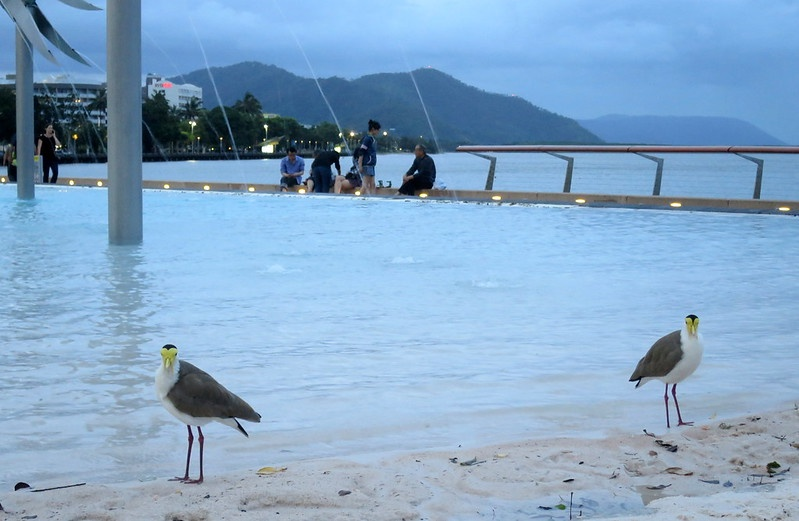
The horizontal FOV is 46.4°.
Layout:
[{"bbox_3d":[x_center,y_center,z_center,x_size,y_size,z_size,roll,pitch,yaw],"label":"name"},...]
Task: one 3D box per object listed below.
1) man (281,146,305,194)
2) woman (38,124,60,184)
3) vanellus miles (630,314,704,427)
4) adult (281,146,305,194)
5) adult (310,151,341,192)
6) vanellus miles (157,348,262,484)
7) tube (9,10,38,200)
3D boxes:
[{"bbox_3d":[-2.867,-2.460,24.372,0.670,1.008,1.098,7,19,12],"label":"man"},{"bbox_3d":[-10.136,-3.026,27.165,0.744,1.937,0.613,1,6,10],"label":"woman"},{"bbox_3d":[2.206,0.862,7.767,0.510,0.891,0.589,0,10,-1],"label":"vanellus miles"},{"bbox_3d":[-2.820,-2.453,24.359,0.604,1.118,1.995,-1,10,-7],"label":"adult"},{"bbox_3d":[-1.850,-2.302,23.542,0.679,1.037,0.933,-2,10,-12],"label":"adult"},{"bbox_3d":[-1.444,1.146,6.970,0.929,0.993,0.426,8,-7,-34],"label":"vanellus miles"},{"bbox_3d":[-9.179,-3.551,22.828,0.549,3.972,0.916,-4,11,-21],"label":"tube"}]
